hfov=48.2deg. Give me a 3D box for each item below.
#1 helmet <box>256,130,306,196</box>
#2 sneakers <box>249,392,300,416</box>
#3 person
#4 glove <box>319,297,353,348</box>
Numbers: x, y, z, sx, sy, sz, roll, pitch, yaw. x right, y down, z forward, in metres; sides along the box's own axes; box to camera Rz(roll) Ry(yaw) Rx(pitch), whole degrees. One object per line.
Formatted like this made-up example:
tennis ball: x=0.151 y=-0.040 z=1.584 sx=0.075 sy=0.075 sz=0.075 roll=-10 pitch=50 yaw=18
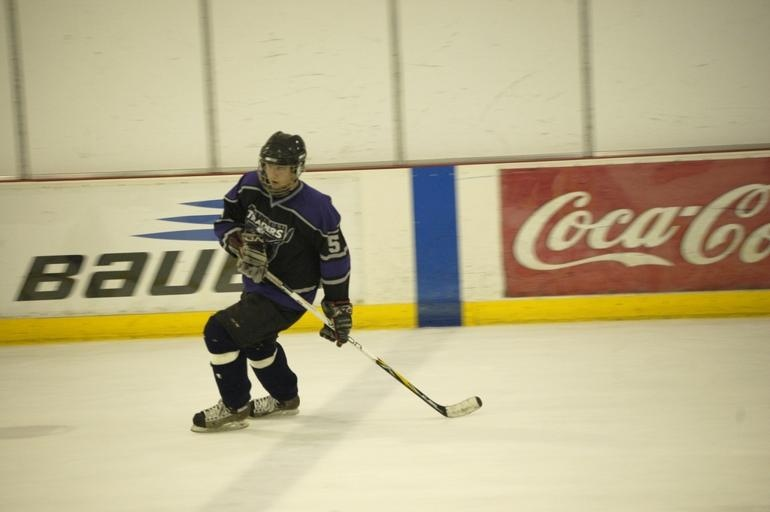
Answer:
helmet: x=-0.698 y=-0.620 z=5.753 sx=0.311 sy=0.429 sz=0.224 roll=0 pitch=-2 yaw=-10
sneakers: x=-0.790 y=1.062 z=6.043 sx=0.407 sy=0.134 sz=0.130 roll=1 pitch=-2 yaw=-5
person: x=-0.764 y=0.183 z=5.921 sx=0.990 sy=2.018 sz=0.549 roll=-1 pitch=-2 yaw=22
glove: x=-0.330 y=0.457 z=5.803 sx=0.289 sy=0.278 sz=0.154 roll=3 pitch=8 yaw=-4
